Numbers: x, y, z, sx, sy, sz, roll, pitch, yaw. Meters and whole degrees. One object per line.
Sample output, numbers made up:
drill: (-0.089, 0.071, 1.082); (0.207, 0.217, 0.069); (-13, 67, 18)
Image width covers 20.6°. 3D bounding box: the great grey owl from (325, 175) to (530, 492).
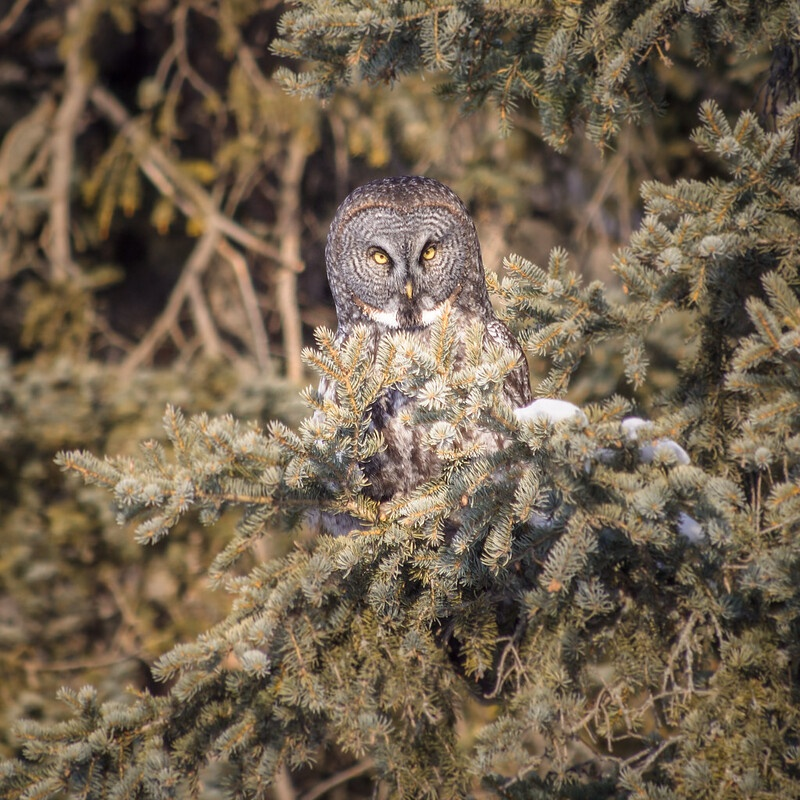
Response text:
great grey owl: (0.106, -0.335, 10.564); (0.997, 0.826, 1.345); (-9, 47, -3)
